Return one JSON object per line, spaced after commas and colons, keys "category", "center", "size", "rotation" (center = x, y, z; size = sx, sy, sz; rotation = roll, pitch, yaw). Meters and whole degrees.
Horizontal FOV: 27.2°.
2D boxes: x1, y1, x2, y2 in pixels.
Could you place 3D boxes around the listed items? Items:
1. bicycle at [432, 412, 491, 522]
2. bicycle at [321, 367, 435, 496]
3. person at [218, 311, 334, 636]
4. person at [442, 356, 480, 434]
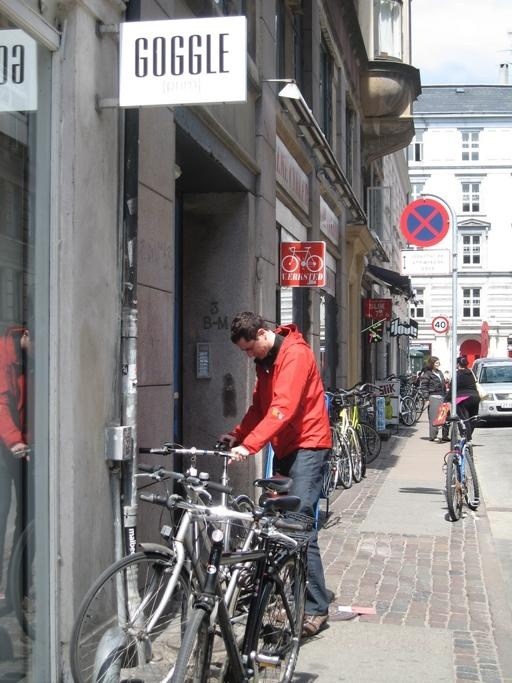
{"category": "bicycle", "center": [1.872, 1.204, 9.709], "size": [0.352, 0.691, 0.993], "rotation": [-5, -10, 15]}
{"category": "bicycle", "center": [1.706, 1.245, 14.702], "size": [0.794, 1.450, 2.445], "rotation": [-3, -6, 18]}
{"category": "person", "center": [0.131, 0.693, 5.817], "size": [0.491, 1.676, 0.519], "rotation": [-4, 0, 10]}
{"category": "person", "center": [2.812, 0.677, 14.515], "size": [0.450, 0.588, 1.226], "rotation": [-9, -49, -1]}
